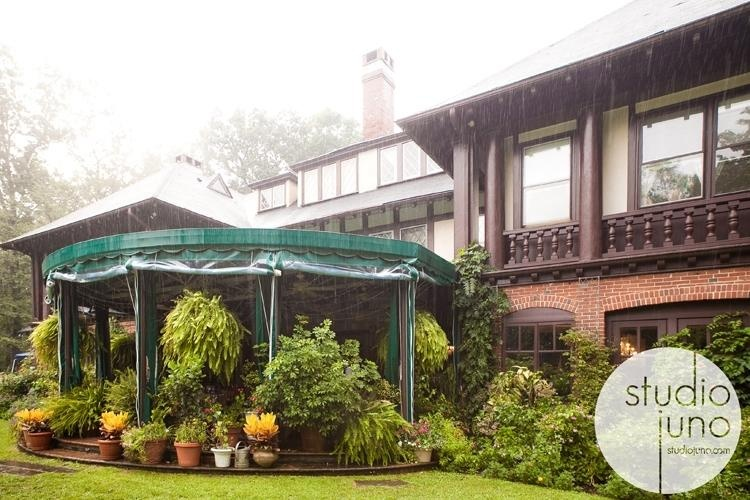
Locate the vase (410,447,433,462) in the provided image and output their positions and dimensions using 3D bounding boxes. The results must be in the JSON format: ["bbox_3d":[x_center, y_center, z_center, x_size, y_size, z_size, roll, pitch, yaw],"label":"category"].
[{"bbox_3d":[1.318,5.707,20.628,0.409,0.253,0.415,-6,-12,19],"label":"vase"}]

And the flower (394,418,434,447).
[{"bbox_3d":[1.157,5.170,20.805,0.769,0.525,0.710,1,-7,-2],"label":"flower"}]

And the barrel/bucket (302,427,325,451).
[{"bbox_3d":[-1.792,5.257,20.525,0.627,0.488,0.639,2,-15,1],"label":"barrel/bucket"}]
